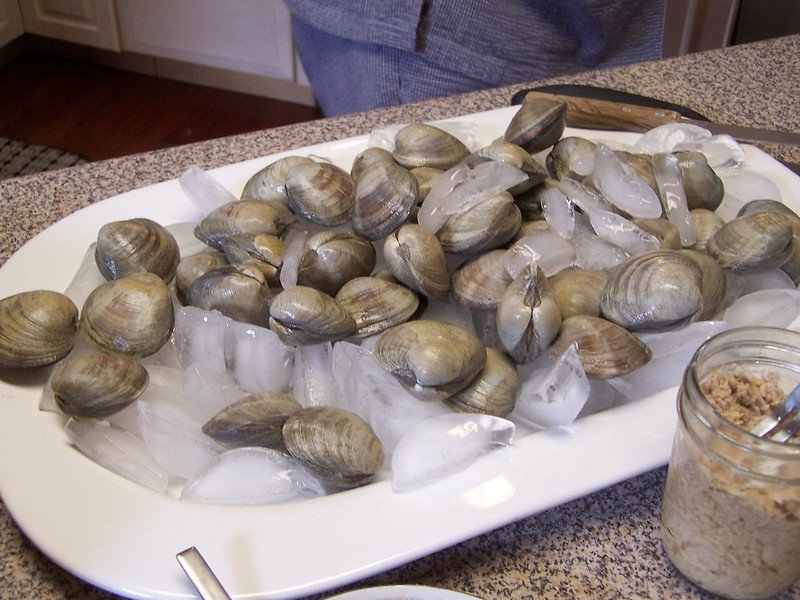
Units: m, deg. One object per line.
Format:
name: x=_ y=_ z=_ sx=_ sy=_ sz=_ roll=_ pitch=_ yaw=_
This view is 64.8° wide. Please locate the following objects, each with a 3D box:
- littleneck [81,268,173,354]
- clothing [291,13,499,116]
littleneck: x=-0.264 y=0.015 z=0.607 sx=0.079 sy=0.028 sz=0.092 roll=-11 pitch=58 yaw=-21
clothing: x=0.002 y=-0.470 z=1.246 sx=0.358 sy=0.212 sz=0.121 roll=18 pitch=90 yaw=37
